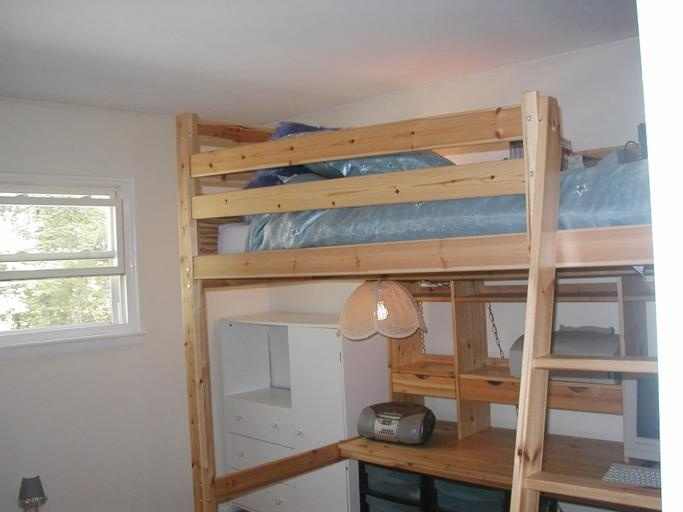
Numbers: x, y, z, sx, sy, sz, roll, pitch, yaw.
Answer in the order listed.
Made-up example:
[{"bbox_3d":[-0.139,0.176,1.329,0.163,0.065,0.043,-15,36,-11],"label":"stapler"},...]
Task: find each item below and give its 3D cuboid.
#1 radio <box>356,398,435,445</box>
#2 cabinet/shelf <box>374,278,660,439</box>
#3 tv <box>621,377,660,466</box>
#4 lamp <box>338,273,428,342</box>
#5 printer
[{"bbox_3d":[0.362,1.038,3.271,0.452,0.169,0.324,-5,10,36],"label":"radio"},{"bbox_3d":[0.929,0.588,3.067,1.292,0.703,0.342,5,-1,-4],"label":"cabinet/shelf"},{"bbox_3d":[1.492,0.766,2.461,0.197,0.333,0.203,24,-21,-28],"label":"tv"},{"bbox_3d":[0.214,0.296,3.043,0.563,0.335,0.535,2,-3,-29],"label":"lamp"},{"bbox_3d":[1.180,0.454,2.584,0.514,0.245,0.487,-6,3,33],"label":"printer"}]
